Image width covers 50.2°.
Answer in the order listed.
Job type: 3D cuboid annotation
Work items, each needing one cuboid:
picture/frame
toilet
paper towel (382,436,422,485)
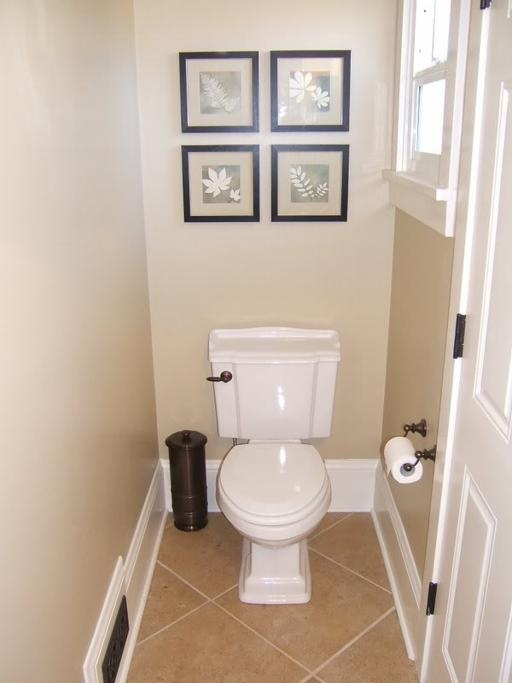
[{"bbox_3d":[0.039,-0.817,2.098,0.479,0.594,0.026,-2,18,-2],"label":"picture/frame"},{"bbox_3d":[0.059,0.497,2.187,0.430,0.882,0.707,2,25,7],"label":"toilet"},{"bbox_3d":[0.449,0.371,1.686,0.100,0.130,0.177,2,15,10],"label":"paper towel"}]
